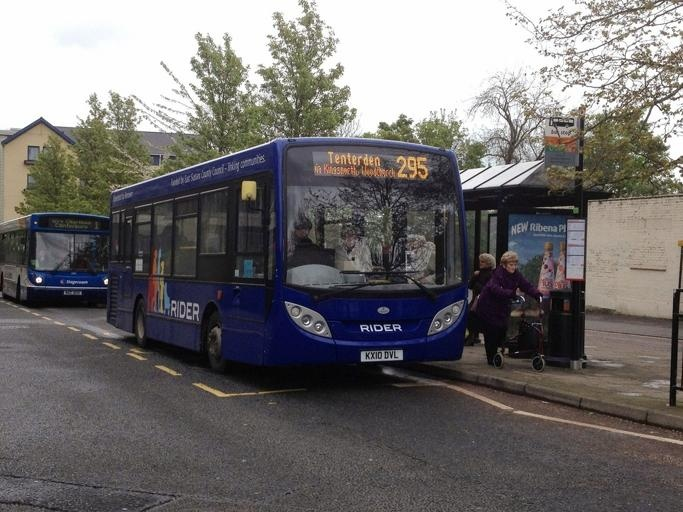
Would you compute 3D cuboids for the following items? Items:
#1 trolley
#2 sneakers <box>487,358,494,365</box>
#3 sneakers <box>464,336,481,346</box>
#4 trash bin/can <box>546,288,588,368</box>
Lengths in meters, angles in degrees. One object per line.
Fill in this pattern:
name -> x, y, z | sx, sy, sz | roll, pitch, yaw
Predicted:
trolley -> 3.324, 1.346, 11.288 | 0.654, 1.387, 1.045 | 4, -6, -25
sneakers -> 2.685, 1.891, 11.287 | 0.127, 0.130, 0.076 | 1, 1, 41
sneakers -> 3.020, 1.924, 14.214 | 0.526, 0.238, 0.187 | 3, -5, -41
trash bin/can -> 4.048, 1.115, 11.631 | 0.939, 1.741, 0.929 | 2, -2, 27
